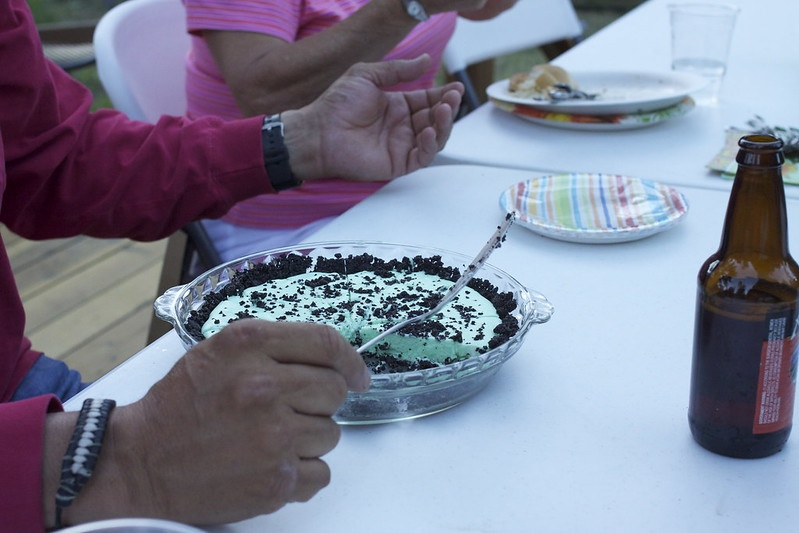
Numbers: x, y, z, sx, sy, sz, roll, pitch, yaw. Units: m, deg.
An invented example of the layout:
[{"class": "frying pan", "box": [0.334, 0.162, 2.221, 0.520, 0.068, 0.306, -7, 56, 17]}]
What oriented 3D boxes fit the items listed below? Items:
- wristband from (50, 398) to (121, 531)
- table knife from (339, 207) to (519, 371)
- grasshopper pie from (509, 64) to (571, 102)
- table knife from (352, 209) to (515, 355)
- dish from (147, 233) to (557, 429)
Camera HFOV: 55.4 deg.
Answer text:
[{"class": "wristband", "box": [-0.358, 0.231, 0.882, 0.031, 0.084, 0.120, 23, 69, -15]}, {"class": "table knife", "box": [0.043, 0.037, 1.099, 0.047, 0.027, 0.318, 42, 75, 16]}, {"class": "grasshopper pie", "box": [0.318, -0.398, 1.725, 0.115, 0.048, 0.088, -2, 36, 37]}, {"class": "table knife", "box": [0.051, 0.028, 1.115, 0.041, 0.022, 0.288, 41, 74, 17]}, {"class": "dish", "box": [-0.038, 0.076, 1.044, 0.372, 0.063, 0.312, -1, 26, -2]}]
